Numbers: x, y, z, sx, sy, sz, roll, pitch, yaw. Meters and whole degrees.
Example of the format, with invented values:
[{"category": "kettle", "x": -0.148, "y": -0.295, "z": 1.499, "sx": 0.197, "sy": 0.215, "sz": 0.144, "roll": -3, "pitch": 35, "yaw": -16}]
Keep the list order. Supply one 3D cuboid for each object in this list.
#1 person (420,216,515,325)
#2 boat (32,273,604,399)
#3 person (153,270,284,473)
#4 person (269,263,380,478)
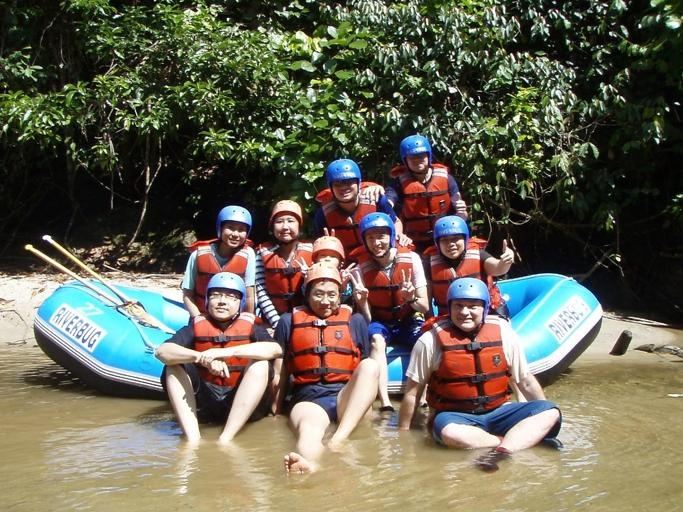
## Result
[{"category": "person", "x": 1.188, "y": 0.235, "z": 6.219, "sx": 0.983, "sy": 1.017, "sz": 0.460, "roll": -5, "pitch": -23, "yaw": 3}, {"category": "boat", "x": -0.289, "y": 0.813, "z": 6.652, "sx": 4.760, "sy": 0.855, "sz": 2.299, "roll": 1, "pitch": 8, "yaw": 1}, {"category": "person", "x": -1.038, "y": 0.814, "z": 5.358, "sx": 0.883, "sy": 1.335, "sz": 0.622, "roll": -1, "pitch": 2, "yaw": -43}, {"category": "person", "x": -0.132, "y": 0.855, "z": 5.325, "sx": 0.992, "sy": 1.389, "sz": 2.100, "roll": -3, "pitch": 5, "yaw": -4}]
